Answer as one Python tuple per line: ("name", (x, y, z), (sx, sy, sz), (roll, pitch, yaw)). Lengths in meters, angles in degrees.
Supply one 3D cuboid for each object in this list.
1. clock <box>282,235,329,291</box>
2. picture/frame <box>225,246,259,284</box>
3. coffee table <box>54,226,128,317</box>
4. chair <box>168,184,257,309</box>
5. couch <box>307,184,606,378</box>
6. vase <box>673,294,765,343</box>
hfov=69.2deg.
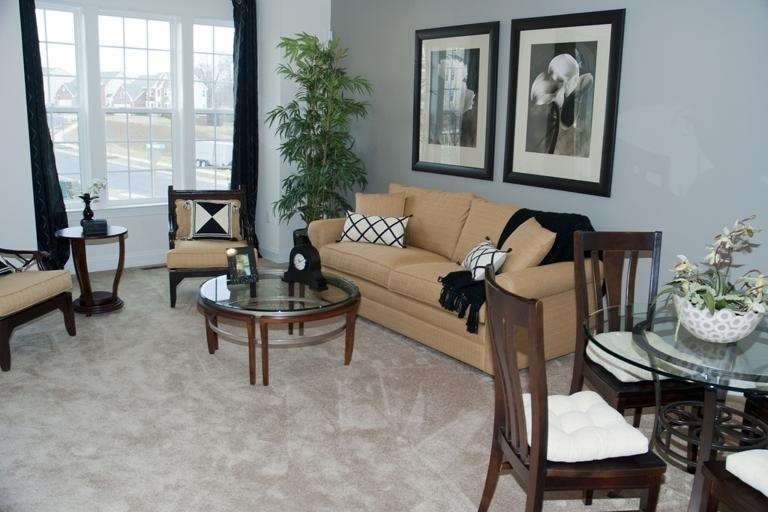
("clock", (-0.685, 0.076, 4.778), (0.440, 0.389, 0.122), (13, 23, 31))
("picture/frame", (-1.227, 0.084, 4.825), (0.211, 0.271, 0.162), (-4, 11, -21))
("coffee table", (-2.933, 0.171, 5.650), (0.657, 0.776, 0.672), (-2, 8, -7))
("chair", (-1.875, -0.125, 6.051), (0.855, 1.118, 0.788), (-2, 13, -18))
("couch", (0.513, 0.125, 5.509), (1.130, 1.336, 2.750), (-7, 16, -38))
("vase", (1.881, 0.358, 3.151), (0.422, 0.227, 0.186), (5, 16, 12))
